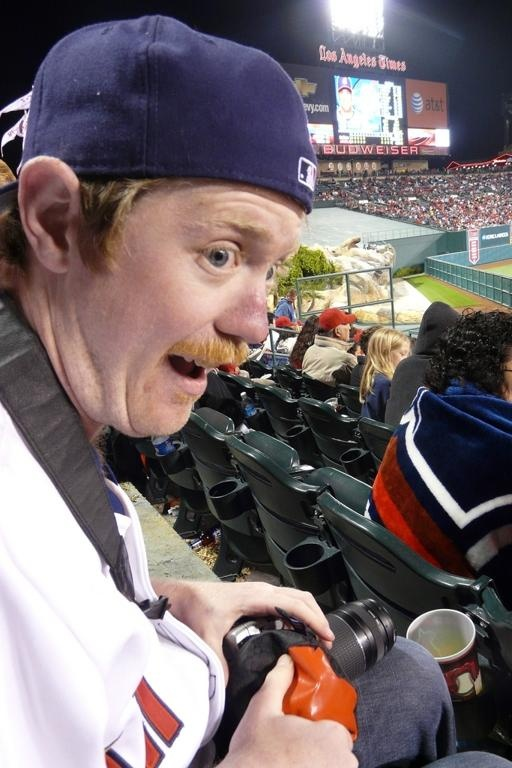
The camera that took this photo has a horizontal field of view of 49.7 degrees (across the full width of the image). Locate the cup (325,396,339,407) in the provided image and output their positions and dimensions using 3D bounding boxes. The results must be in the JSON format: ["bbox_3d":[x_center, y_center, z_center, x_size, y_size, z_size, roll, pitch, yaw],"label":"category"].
[{"bbox_3d":[0.649,0.154,4.817,0.124,0.091,0.111,7,-1,-35],"label":"cup"}]

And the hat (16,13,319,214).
[{"bbox_3d":[-0.111,-0.323,0.720,0.315,0.157,0.207,2,19,-31],"label":"hat"}]

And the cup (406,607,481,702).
[{"bbox_3d":[0.405,0.595,1.179,0.126,0.146,0.140,-6,13,32],"label":"cup"}]
